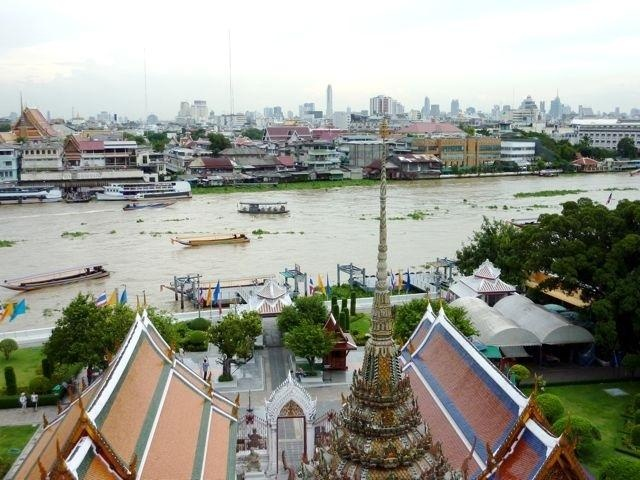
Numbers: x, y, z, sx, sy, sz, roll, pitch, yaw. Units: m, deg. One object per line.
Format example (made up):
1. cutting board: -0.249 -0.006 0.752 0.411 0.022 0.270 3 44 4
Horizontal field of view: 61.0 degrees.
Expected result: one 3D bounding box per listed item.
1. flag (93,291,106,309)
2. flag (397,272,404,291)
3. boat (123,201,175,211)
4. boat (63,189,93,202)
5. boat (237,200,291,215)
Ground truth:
1. flag: -9.613 2.608 23.622 0.077 0.923 0.722 40 52 22
2. flag: 4.259 2.112 28.674 0.337 0.951 1.034 -1 12 8
3. boat: -18.762 -3.750 59.416 3.441 0.709 0.913 -6 15 -26
4. boat: -28.951 -5.293 64.794 3.152 1.031 6.669 -8 13 -23
5. boat: -5.786 -3.387 55.157 5.300 1.108 3.687 -2 12 1
